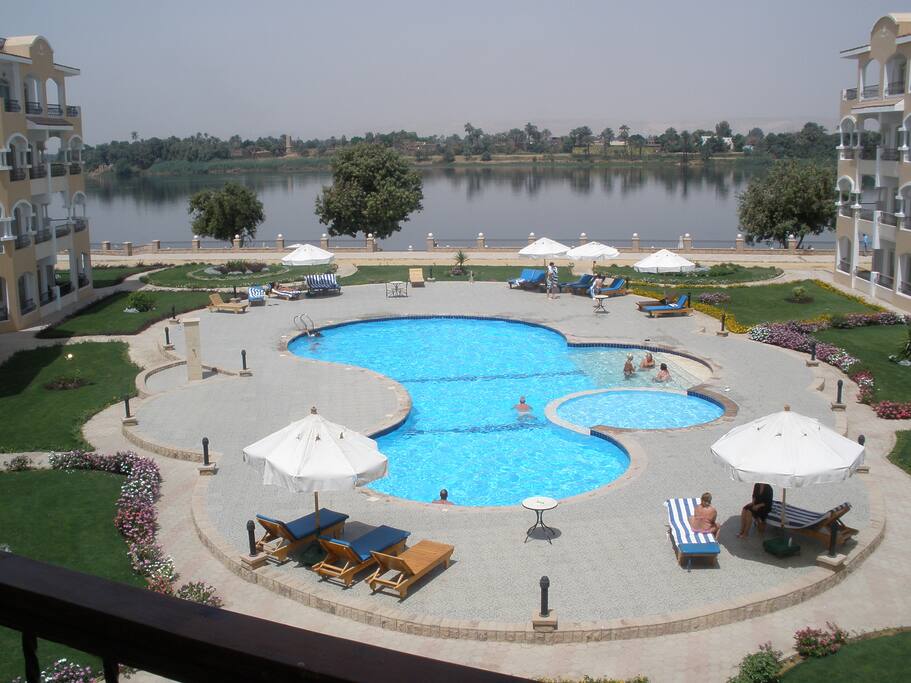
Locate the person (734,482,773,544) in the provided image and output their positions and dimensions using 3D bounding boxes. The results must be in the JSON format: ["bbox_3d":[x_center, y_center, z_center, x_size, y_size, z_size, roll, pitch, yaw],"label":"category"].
[{"bbox_3d":[6.679,3.624,18.981,0.808,1.403,0.536,-6,11,-19],"label":"person"}]

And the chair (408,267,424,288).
[{"bbox_3d":[-2.221,-3.658,49.263,0.828,0.790,1.601,-1,14,-1],"label":"chair"}]

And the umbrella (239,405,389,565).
[{"bbox_3d":[-3.079,2.755,18.665,2.945,2.736,2.962,14,19,29],"label":"umbrella"}]

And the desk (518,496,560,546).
[{"bbox_3d":[1.963,3.863,19.349,0.788,0.916,1.492,1,14,7],"label":"desk"}]

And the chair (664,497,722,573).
[{"bbox_3d":[5.045,4.061,18.448,0.832,0.690,2.071,-3,15,4],"label":"chair"}]

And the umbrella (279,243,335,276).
[{"bbox_3d":[-7.848,-4.577,46.343,2.364,1.066,2.460,-2,14,-3],"label":"umbrella"}]

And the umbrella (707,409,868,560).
[{"bbox_3d":[7.223,2.388,18.953,3.336,2.302,3.025,-22,30,-23],"label":"umbrella"}]

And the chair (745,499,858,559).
[{"bbox_3d":[7.599,3.975,18.696,1.885,0.630,1.237,10,17,41],"label":"chair"}]

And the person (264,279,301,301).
[{"bbox_3d":[-9.355,-2.682,46.366,1.643,0.794,1.253,15,18,38],"label":"person"}]
